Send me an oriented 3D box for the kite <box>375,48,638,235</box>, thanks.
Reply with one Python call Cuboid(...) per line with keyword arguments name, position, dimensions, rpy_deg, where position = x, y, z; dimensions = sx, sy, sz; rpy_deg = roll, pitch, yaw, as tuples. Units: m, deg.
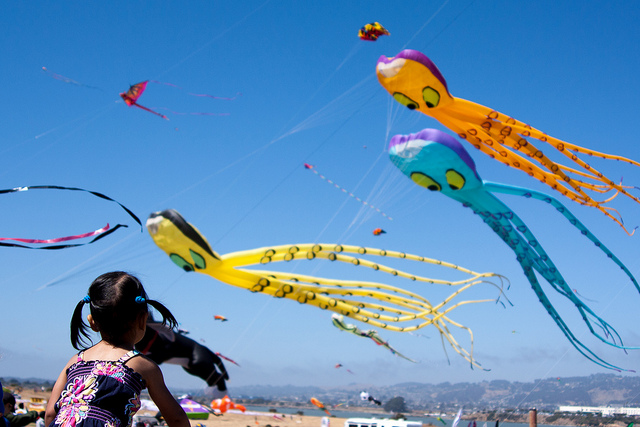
Cuboid(name="kite", position=(3.547, -1.705, 12.787), dimensions=(6.638, 1.991, 1.154), rpy_deg=(23, -52, -12))
